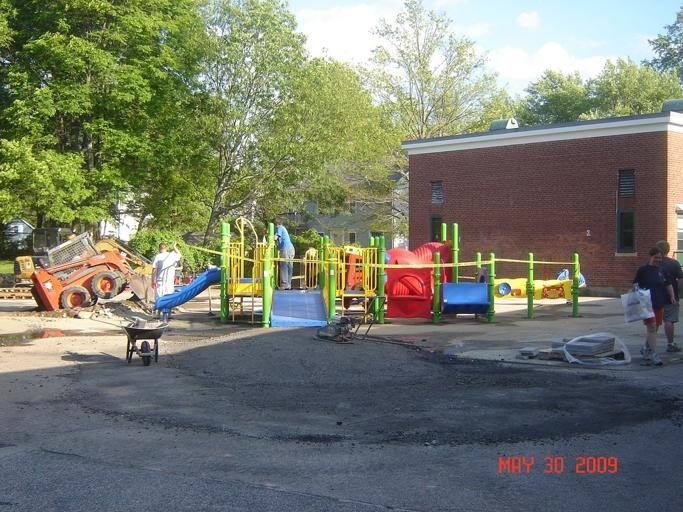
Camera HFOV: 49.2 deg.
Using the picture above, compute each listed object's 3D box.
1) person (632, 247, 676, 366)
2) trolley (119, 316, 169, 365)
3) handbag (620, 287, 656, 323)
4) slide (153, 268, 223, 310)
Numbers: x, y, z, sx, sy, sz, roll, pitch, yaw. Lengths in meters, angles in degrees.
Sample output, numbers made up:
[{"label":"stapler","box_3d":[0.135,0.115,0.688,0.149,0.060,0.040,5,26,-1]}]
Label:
[{"label":"person","box_3d":[6.327,0.940,14.515,0.946,2.063,0.954,4,4,-5]},{"label":"trolley","box_3d":[-3.622,1.634,14.465,1.112,0.845,1.019,5,0,-30]},{"label":"handbag","box_3d":[5.682,0.936,14.362,0.564,0.635,0.467,-2,-1,17]},{"label":"slide","box_3d":[-4.117,1.211,21.700,2.555,0.557,1.495,-16,-17,25]}]
